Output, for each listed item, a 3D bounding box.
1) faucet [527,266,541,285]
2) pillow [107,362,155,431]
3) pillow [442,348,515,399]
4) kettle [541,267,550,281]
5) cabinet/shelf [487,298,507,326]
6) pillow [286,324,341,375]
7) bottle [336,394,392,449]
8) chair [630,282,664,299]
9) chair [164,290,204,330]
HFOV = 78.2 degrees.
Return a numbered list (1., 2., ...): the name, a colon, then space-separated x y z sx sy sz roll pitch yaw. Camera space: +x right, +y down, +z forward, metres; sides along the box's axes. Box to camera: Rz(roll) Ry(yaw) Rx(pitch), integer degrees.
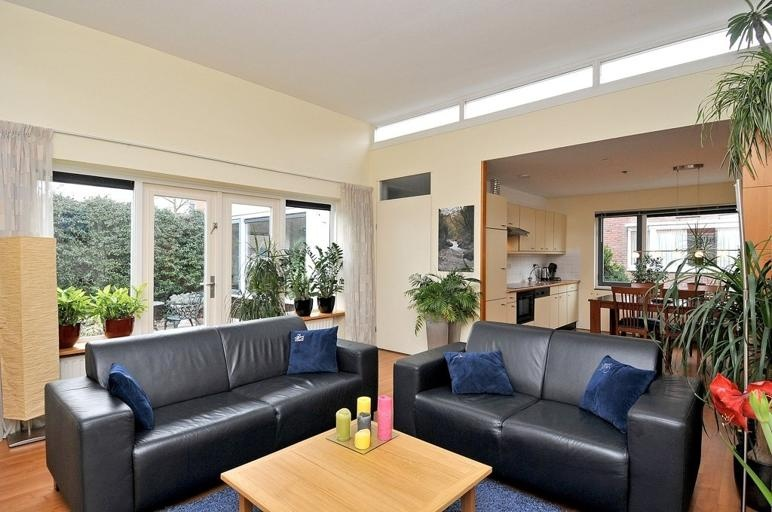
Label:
1. faucet: 2.898 0.313 9.179 0.165 0.255 0.539 -2 -2 36
2. pillow: -2.023 1.117 3.887 0.424 0.457 0.657 0 -1 -5
3. pillow: 0.867 1.093 4.477 0.458 0.398 0.138 -2 -42 -3
4. kettle: 3.125 0.332 9.268 0.190 0.179 0.259 -2 -2 29
5. cabinet/shelf: 1.546 0.756 6.665 0.302 0.348 0.512 -1 -1 41
6. pillow: -0.769 0.982 4.914 0.452 0.417 0.155 -4 -27 3
7. bottle: -0.151 1.279 3.871 0.446 0.393 0.408 7 1 -30
8. chair: 3.125 0.412 5.678 0.280 0.223 0.304 1 -5 1
9. chair: -2.522 0.651 5.921 0.407 0.504 0.429 5 -7 -36
